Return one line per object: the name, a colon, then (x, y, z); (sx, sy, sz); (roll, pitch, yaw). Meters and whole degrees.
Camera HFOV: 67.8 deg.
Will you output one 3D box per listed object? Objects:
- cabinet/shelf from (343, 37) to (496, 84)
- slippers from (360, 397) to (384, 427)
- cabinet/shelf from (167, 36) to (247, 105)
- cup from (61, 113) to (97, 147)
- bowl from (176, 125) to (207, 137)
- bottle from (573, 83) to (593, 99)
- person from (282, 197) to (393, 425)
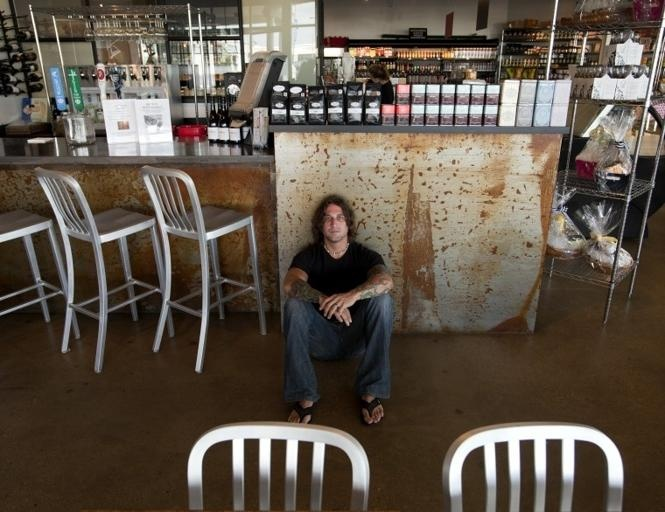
cabinet/shelf: (2.157, -4.494, 11.237); (3.219, 0.957, 0.494); (-2, 23, -4)
slippers: (0.230, 0.886, 2.807); (0.097, 0.066, 0.159); (-4, 17, -7)
cabinet/shelf: (-2.017, -3.013, 7.836); (1.074, 1.008, 0.574); (-5, 42, -14)
cup: (-2.048, -1.067, 4.017); (0.254, 0.260, 0.251); (6, 22, -3)
bowl: (-1.244, -1.104, 4.359); (0.228, 0.071, 0.154); (1, 19, -3)
bottle: (1.882, -1.257, 3.727); (0.153, 0.142, 0.040); (11, -14, 21)
person: (0.038, 0.290, 2.986); (0.651, 1.079, 0.969); (2, 23, 6)
